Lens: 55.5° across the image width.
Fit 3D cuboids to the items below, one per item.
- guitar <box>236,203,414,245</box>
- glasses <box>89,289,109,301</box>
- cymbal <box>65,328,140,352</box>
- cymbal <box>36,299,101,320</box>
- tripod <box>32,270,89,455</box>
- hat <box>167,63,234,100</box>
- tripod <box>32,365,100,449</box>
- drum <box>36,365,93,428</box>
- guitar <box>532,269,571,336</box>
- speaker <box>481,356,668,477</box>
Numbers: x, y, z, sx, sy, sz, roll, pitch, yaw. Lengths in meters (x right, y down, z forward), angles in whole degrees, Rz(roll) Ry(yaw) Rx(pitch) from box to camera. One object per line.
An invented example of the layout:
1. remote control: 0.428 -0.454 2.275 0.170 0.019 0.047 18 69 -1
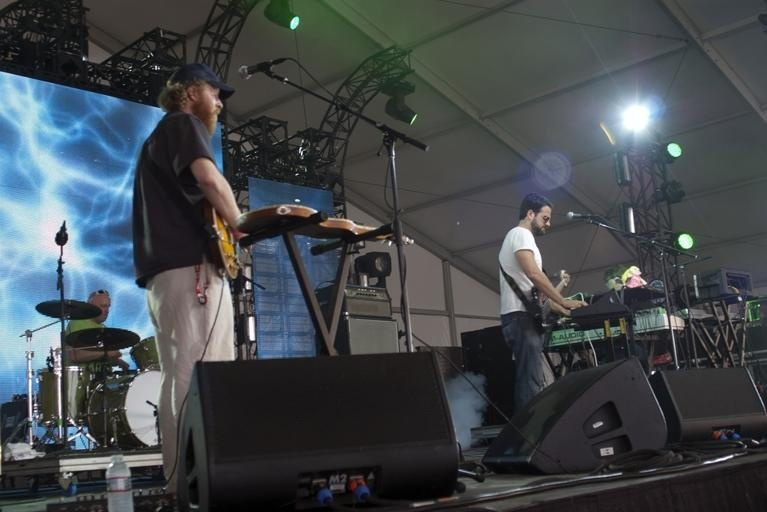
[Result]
1. guitar: -0.398 -0.184 4.370 0.936 0.154 0.438 1 -20 -26
2. glasses: -3.129 0.418 7.969 0.131 0.141 0.105 29 -1 15
3. cymbal: -2.857 0.839 7.362 0.397 0.094 0.395 2 -34 -15
4. cymbal: -3.212 0.547 7.438 0.371 0.087 0.365 21 -39 -30
5. tripod: -3.175 0.908 7.290 0.546 2.016 1.189 3 -20 -30
6. hat: -1.161 -1.114 4.675 0.336 0.172 0.226 -4 5 -19
7. tripod: -3.345 1.575 7.759 0.769 0.996 0.770 -1 -9 2
8. drum: -3.276 1.393 7.379 0.581 0.552 0.576 0 -4 -8
9. guitar: 1.567 0.447 6.785 0.171 0.705 0.410 0 5 36
10. speaker: 1.288 1.155 4.791 0.888 0.593 0.867 16 -29 -15
